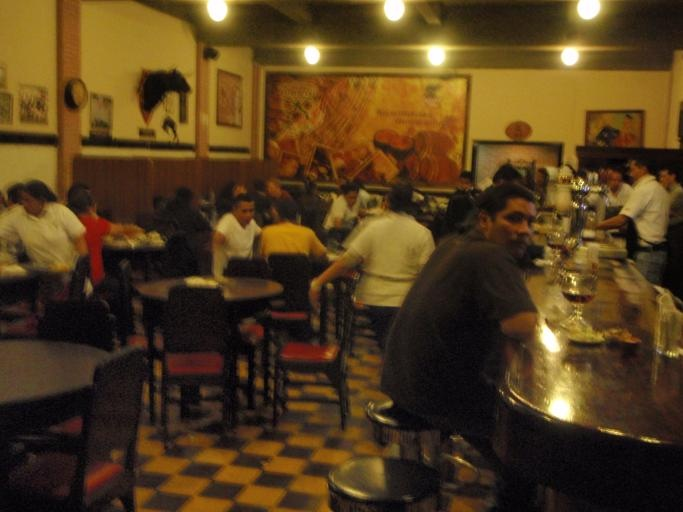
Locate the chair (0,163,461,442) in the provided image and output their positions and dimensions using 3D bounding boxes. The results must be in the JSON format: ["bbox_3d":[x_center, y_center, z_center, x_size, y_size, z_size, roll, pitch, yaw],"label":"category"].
[{"bbox_3d":[-0.360,0.238,4.787,1.987,1.410,2.048,1,3,6],"label":"chair"}]

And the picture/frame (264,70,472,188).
[{"bbox_3d":[0.768,-3.102,13.386,3.740,2.219,0.253,2,12,10],"label":"picture/frame"}]
